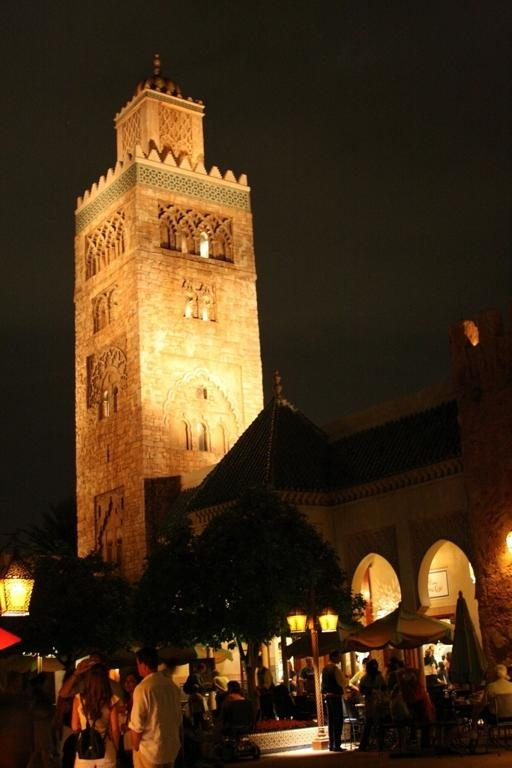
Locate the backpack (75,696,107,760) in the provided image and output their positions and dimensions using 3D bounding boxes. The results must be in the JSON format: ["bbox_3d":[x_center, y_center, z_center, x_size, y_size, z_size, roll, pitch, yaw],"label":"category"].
[{"bbox_3d":[-0.866,1.850,4.383,0.208,0.317,0.172,0,-47,-8],"label":"backpack"}]

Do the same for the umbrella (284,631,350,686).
[{"bbox_3d":[1.102,4.840,14.724,1.040,0.520,1.023,1,-15,-19],"label":"umbrella"}]
